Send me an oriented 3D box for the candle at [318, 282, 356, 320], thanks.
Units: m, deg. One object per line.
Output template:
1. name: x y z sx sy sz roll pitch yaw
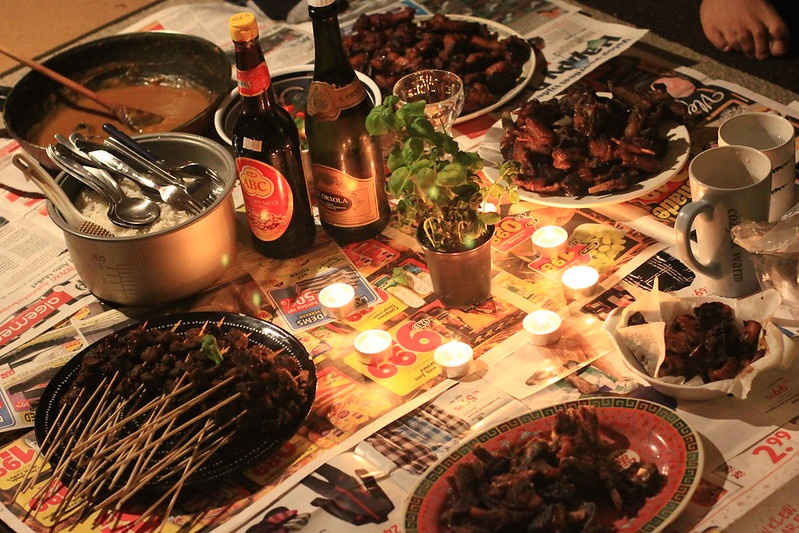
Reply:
1. candle: -0.138 0.068 1.395 0.086 0.045 0.075 -7 42 -4

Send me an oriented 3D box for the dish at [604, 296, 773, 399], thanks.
1. dish: 0.593 0.121 1.154 0.246 0.086 0.281 -13 4 -8

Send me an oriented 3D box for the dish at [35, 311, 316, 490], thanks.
1. dish: -0.408 0.288 1.221 0.384 0.058 0.360 -28 47 -21

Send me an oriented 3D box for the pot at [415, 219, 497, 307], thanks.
1. pot: 0.123 0.016 1.364 0.143 0.124 0.142 -2 14 0

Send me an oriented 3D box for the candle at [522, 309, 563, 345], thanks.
1. candle: 0.293 0.120 1.277 0.080 0.039 0.070 2 39 9

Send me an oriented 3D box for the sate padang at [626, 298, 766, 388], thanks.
1. sate padang: 0.572 0.138 1.149 0.172 0.051 0.165 8 53 13

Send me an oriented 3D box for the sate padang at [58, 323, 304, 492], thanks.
1. sate padang: -0.368 0.251 1.205 0.365 0.057 0.356 -34 47 -28

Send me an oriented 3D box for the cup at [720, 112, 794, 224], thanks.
1. cup: 0.714 -0.195 1.252 0.141 0.194 0.203 -7 50 21

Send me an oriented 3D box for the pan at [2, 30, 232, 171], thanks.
1. pan: -0.837 -0.455 2.024 0.598 0.122 0.527 -21 49 -22

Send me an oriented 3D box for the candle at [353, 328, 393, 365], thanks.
1. candle: -0.057 0.177 1.338 0.074 0.031 0.074 -38 52 -25

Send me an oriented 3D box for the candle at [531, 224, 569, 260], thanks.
1. candle: 0.345 -0.060 1.437 0.086 0.043 0.078 -16 38 -11

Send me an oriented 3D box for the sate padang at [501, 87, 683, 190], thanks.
1. sate padang: 0.460 -0.302 1.499 0.377 0.128 0.293 -6 42 12

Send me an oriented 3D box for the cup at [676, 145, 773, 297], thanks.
1. cup: 0.647 -0.085 1.255 0.197 0.241 0.230 10 56 14
